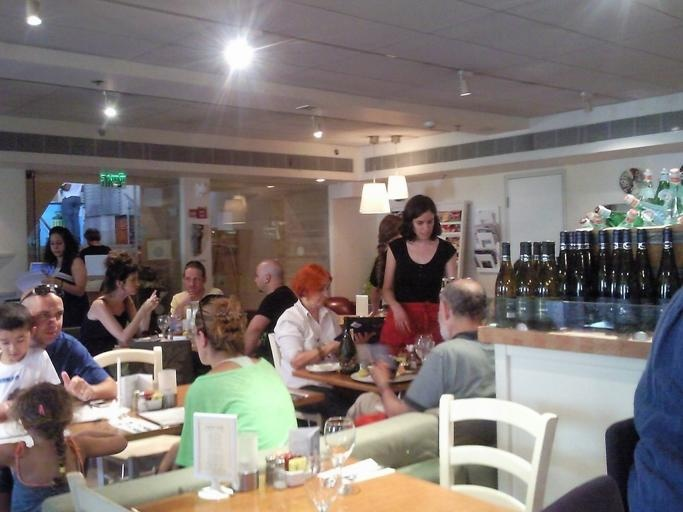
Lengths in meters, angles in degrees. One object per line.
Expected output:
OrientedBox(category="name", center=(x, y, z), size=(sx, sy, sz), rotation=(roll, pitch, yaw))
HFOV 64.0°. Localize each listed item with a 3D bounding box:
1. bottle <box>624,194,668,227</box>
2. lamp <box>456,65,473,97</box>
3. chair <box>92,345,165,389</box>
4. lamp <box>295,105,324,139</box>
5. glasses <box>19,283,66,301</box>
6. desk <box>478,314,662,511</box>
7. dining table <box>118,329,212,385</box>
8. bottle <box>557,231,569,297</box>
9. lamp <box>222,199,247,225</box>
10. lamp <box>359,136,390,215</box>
OrientedBox(category="bottle", center=(1.463, -0.214, 2.614), size=(0.180, 0.141, 0.232), rotation=(1, 4, 30))
OrientedBox(category="lamp", center=(1.170, -1.666, 5.272), size=(0.178, 0.305, 0.170), rotation=(-8, 7, -18))
OrientedBox(category="chair", center=(-1.479, 0.728, 3.890), size=(0.419, 0.524, 0.350), rotation=(1, -8, -15))
OrientedBox(category="lamp", center=(-0.317, -1.601, 6.501), size=(0.258, 0.301, 0.198), rotation=(-10, -7, 31))
OrientedBox(category="glasses", center=(-1.772, 0.216, 3.214), size=(0.182, 0.061, 0.158), rotation=(-10, -6, 28))
OrientedBox(category="desk", center=(1.059, 0.700, 2.907), size=(0.695, 1.094, 0.741), rotation=(2, 3, 41))
OrientedBox(category="dining table", center=(-1.457, 0.794, 4.632), size=(0.491, 0.543, 0.488), rotation=(1, -3, -21))
OrientedBox(category="bottle", center=(1.086, 0.048, 2.665), size=(0.052, 0.316, 0.145), rotation=(0, 4, 20))
OrientedBox(category="lamp", center=(-1.740, -0.716, 8.957), size=(0.104, 0.440, 0.509), rotation=(1, 4, 31))
OrientedBox(category="lamp", center=(0.535, -1.223, 8.493), size=(0.406, 1.124, 1.456), rotation=(-1, 4, 4))
